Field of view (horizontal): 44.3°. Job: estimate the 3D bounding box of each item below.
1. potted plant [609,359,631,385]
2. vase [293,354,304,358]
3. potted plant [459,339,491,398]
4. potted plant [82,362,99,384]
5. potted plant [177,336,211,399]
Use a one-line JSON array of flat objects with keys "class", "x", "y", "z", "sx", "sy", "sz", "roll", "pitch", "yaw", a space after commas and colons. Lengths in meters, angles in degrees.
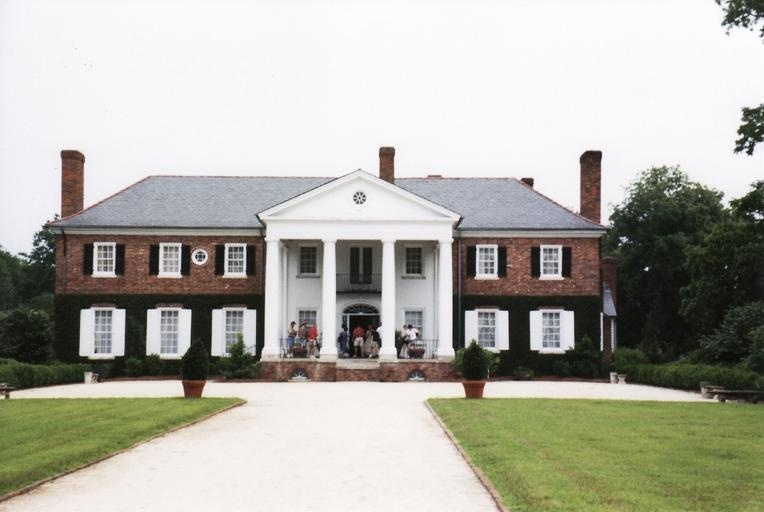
[{"class": "potted plant", "x": 12.704, "y": 6.241, "z": 50.794, "sx": 1.142, "sy": 1.271, "sz": 1.059, "roll": 2, "pitch": -13, "yaw": -8}, {"class": "vase", "x": -4.378, "y": 5.205, "z": 49.138, "sx": 0.389, "sy": 0.250, "sz": 0.205, "roll": 1, "pitch": -12, "yaw": -5}, {"class": "potted plant", "x": 3.781, "y": 4.692, "z": 38.662, "sx": 1.201, "sy": 2.348, "sz": 0.799, "roll": -1, "pitch": -10, "yaw": 4}, {"class": "potted plant", "x": -15.611, "y": 6.125, "z": 49.303, "sx": 1.246, "sy": 1.206, "sz": 0.734, "roll": 0, "pitch": -8, "yaw": -1}, {"class": "potted plant", "x": -7.838, "y": 4.718, "z": 39.150, "sx": 1.008, "sy": 2.465, "sz": 0.726, "roll": 2, "pitch": -11, "yaw": -15}]
